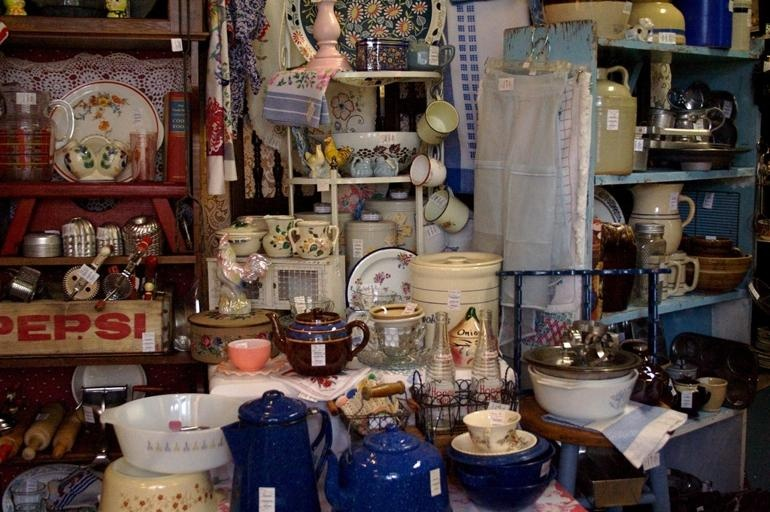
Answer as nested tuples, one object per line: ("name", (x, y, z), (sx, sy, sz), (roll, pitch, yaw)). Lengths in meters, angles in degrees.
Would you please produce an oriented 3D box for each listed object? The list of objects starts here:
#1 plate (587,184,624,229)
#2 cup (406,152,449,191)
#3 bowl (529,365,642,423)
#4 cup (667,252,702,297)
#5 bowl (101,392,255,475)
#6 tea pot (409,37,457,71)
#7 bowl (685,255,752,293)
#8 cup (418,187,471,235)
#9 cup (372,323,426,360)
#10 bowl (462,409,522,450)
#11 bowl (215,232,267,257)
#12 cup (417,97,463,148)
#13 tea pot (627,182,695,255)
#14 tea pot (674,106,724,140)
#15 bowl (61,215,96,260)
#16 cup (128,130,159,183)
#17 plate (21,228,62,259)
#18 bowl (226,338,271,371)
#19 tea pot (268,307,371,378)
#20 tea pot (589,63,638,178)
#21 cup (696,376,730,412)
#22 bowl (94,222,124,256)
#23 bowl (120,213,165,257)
("plate", (1.162, -0.250, 3.338), (0.217, 0.225, 0.051), (19, -20, -30))
("cup", (0.222, -0.424, 3.256), (0.138, 0.174, 0.161), (0, -6, -13))
("bowl", (0.789, 0.552, 2.672), (0.471, 0.164, 0.413), (-3, 5, -40))
("cup", (1.608, 0.112, 3.496), (0.216, 0.219, 0.131), (1, -1, 6))
("bowl", (-0.752, 0.638, 2.222), (0.405, 0.157, 0.362), (5, 2, -42))
("tea pot", (0.229, -1.011, 3.227), (0.243, 0.176, 0.146), (-1, 10, -9))
("bowl", (1.866, 0.093, 3.516), (0.236, 0.136, 0.241), (-1, 4, 0))
("cup", (0.348, -0.237, 3.383), (0.323, 0.240, 0.116), (-10, 12, -30))
("cup", (0.065, 0.332, 2.668), (0.164, 0.135, 0.173), (-1, -1, 0))
("bowl", (0.385, 0.643, 2.316), (0.198, 0.111, 0.204), (-2, 2, 0))
("bowl", (-0.679, -0.073, 3.012), (0.142, 0.082, 0.144), (-1, 6, 0))
("cup", (0.269, -0.671, 3.221), (0.175, 0.228, 0.158), (11, -4, -14))
("tea pot", (1.484, -0.196, 3.474), (0.330, 0.385, 0.263), (4, 3, 20))
("tea pot", (1.670, -0.706, 3.386), (0.330, 0.141, 0.109), (-7, 11, -18))
("bowl", (-1.428, -0.078, 3.079), (0.169, 0.189, 0.173), (0, 4, 0))
("cup", (-1.170, -0.474, 3.077), (0.142, 0.233, 0.141), (0, 3, 0))
("plate", (-1.612, -0.060, 2.993), (0.130, 0.091, 0.132), (0, 3, -25))
("bowl", (-0.570, 0.421, 2.683), (0.181, 0.112, 0.188), (0, 4, 0))
("tea pot", (-0.275, 0.346, 2.634), (0.395, 0.273, 0.274), (0, 8, -8))
("tea pot", (1.064, -0.598, 2.993), (0.244, 0.440, 0.105), (-9, 12, -26))
("cup", (1.640, 0.696, 3.286), (0.159, 0.159, 0.194), (-4, 1, -39))
("bowl", (-1.281, -0.070, 3.000), (0.145, 0.152, 0.117), (-2, 7, -14))
("bowl", (-1.142, -0.100, 2.989), (0.174, 0.188, 0.178), (2, 8, 0))
